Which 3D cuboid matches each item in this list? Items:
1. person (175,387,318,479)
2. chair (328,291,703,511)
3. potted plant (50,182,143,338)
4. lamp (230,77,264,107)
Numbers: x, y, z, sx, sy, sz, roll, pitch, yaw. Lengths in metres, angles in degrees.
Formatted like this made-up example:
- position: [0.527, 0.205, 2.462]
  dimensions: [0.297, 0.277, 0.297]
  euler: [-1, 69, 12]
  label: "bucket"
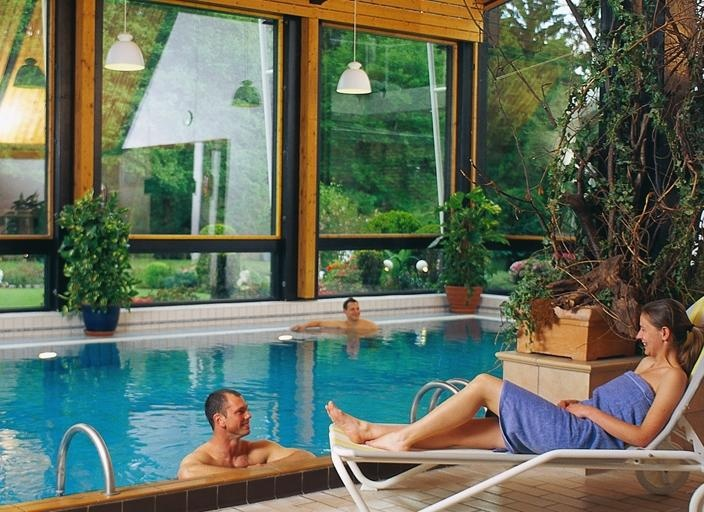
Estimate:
- position: [-0.763, 1.274, 5.295]
  dimensions: [0.626, 0.592, 1.066]
  euler: [-9, -12, 43]
  label: "person"
- position: [1.135, 0.836, 4.812]
  dimensions: [2.111, 1.043, 1.119]
  euler: [1, -3, -1]
  label: "chair"
- position: [-3.390, 0.090, 10.045]
  dimensions: [0.967, 1.892, 0.706]
  euler: [-1, 5, -17]
  label: "potted plant"
- position: [-1.663, -2.534, 11.799]
  dimensions: [0.431, 0.371, 0.421]
  euler: [0, 1, -5]
  label: "lamp"
